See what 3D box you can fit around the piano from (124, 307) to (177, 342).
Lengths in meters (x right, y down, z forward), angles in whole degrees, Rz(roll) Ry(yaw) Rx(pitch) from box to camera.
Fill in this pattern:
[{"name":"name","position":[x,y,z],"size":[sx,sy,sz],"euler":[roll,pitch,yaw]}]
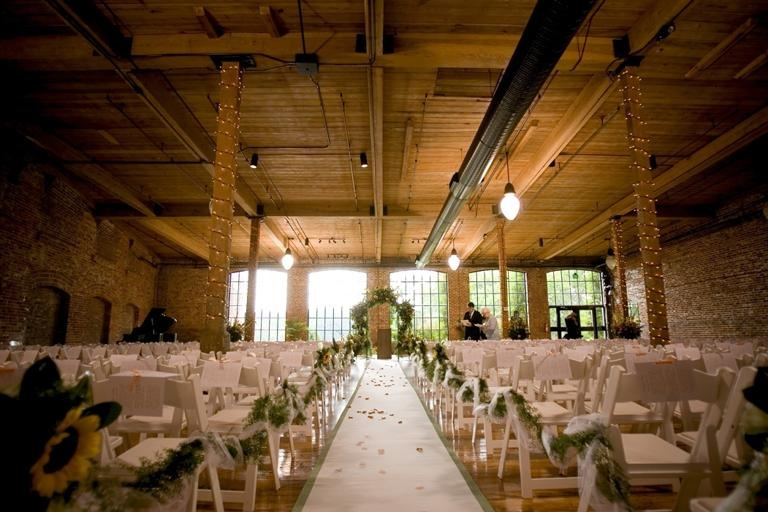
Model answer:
[{"name":"piano","position":[-7.869,2.500,15.546],"size":[1.542,1.235,1.141],"euler":[-1,2,-11]}]

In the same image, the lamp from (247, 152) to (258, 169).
[{"name":"lamp","position":[-2.781,-2.029,9.712],"size":[0.217,0.181,0.357],"euler":[5,7,-8]}]
